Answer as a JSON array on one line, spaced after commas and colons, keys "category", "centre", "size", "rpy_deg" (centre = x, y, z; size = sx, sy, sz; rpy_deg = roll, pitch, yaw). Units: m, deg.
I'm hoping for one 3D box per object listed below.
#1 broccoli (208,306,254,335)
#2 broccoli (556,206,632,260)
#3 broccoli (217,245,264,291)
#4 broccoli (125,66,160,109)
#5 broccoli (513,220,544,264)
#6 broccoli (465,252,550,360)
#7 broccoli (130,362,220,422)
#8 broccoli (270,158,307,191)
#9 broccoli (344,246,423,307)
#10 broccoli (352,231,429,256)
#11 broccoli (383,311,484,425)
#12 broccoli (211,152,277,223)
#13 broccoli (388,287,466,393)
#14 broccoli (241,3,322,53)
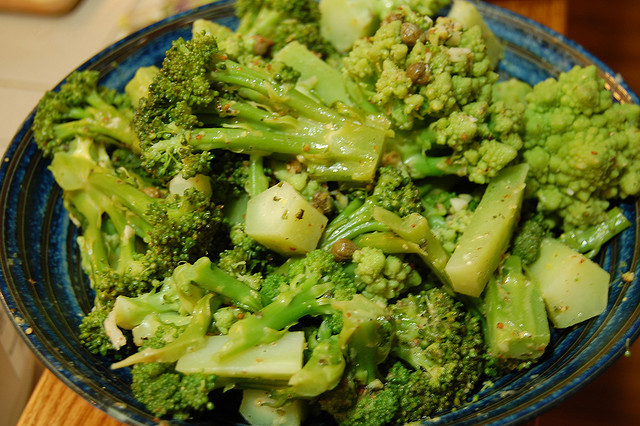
[{"category": "broccoli", "centre": [-0.396, 0.456, 2.413], "size": [0.134, 0.053, 0.132], "rpy_deg": [11, 52, 22]}, {"category": "broccoli", "centre": [1.341, 0.104, 2.707], "size": [0.331, 0.073, 0.182], "rpy_deg": [-30, 78, 11]}, {"category": "broccoli", "centre": [-0.347, 0.252, 2.547], "size": [0.206, 0.087, 0.167], "rpy_deg": [34, 71, 11]}, {"category": "broccoli", "centre": [-0.933, -0.648, 2.921], "size": [0.056, 0.173, 0.169], "rpy_deg": [-25, 94, -47]}, {"category": "broccoli", "centre": [0.996, 0.137, 2.639], "size": [0.127, 0.080, 0.186], "rpy_deg": [23, 71, -19]}, {"category": "broccoli", "centre": [0.875, 0.429, 2.527], "size": [0.331, 0.108, 0.471], "rpy_deg": [-16, 70, -5]}, {"category": "broccoli", "centre": [-0.610, 0.729, 2.303], "size": [0.309, 0.122, 0.241], "rpy_deg": [-15, 74, 5]}, {"category": "broccoli", "centre": [-0.151, -0.190, 2.805], "size": [0.231, 0.357, 0.085], "rpy_deg": [8, 75, -3]}, {"category": "broccoli", "centre": [0.307, 0.297, 2.534], "size": [0.296, 0.125, 0.257], "rpy_deg": [-7, 52, -28]}, {"category": "broccoli", "centre": [0.273, 0.127, 2.568], "size": [0.091, 0.336, 0.082], "rpy_deg": [31, 107, 48]}, {"category": "broccoli", "centre": [0.564, 0.727, 2.513], "size": [0.364, 0.163, 0.451], "rpy_deg": [32, 82, 16]}, {"category": "broccoli", "centre": [-0.397, -0.162, 2.700], "size": [0.289, 0.108, 0.347], "rpy_deg": [22, 101, -13]}, {"category": "broccoli", "centre": [0.490, 0.535, 2.475], "size": [0.400, 0.169, 0.368], "rpy_deg": [31, 94, 19]}, {"category": "broccoli", "centre": [-0.197, -1.044, 3.053], "size": [0.392, 0.169, 0.274], "rpy_deg": [-18, 75, 15]}]
